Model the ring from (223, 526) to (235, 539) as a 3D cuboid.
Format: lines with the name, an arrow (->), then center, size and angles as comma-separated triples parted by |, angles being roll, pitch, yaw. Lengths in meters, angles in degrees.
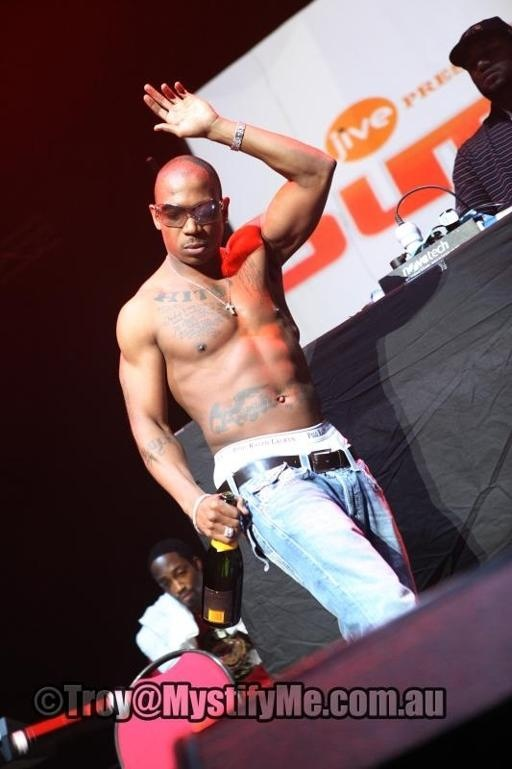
ring -> -0.047, 0.253, 1.122 | 0.019, 0.024, 0.007 | -28, -4, -6

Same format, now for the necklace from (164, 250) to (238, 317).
necklace -> -0.135, -0.236, 1.542 | 0.077, 0.263, 0.014 | -39, -41, -9
